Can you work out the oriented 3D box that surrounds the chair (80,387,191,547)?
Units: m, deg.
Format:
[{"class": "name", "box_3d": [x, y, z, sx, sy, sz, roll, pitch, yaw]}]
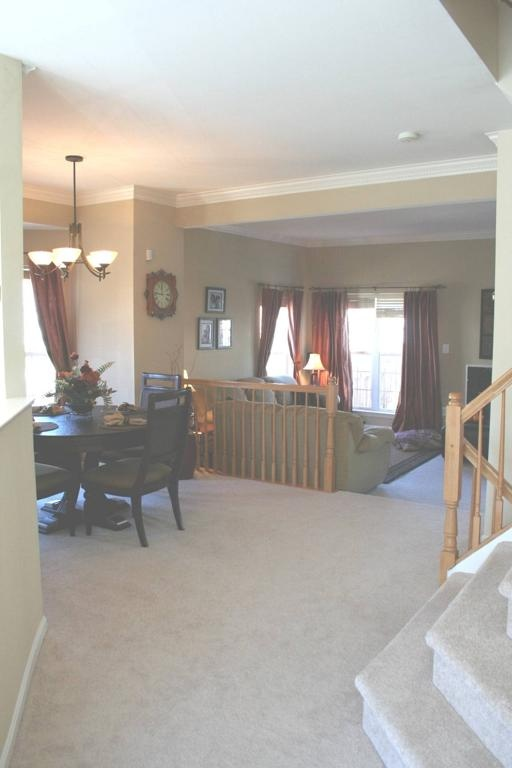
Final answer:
[{"class": "chair", "box_3d": [-0.749, 0.514, 3.612, 0.564, 0.959, 0.533, 2, 3, 25]}]

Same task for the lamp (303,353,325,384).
[{"class": "lamp", "box_3d": [0.957, -0.246, 8.869, 0.404, 0.736, 0.420, 0, 0, -1]}]

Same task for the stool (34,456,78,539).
[{"class": "stool", "box_3d": [-1.271, 0.757, 3.506, 0.240, 0.489, 0.613, -1, 3, -21]}]

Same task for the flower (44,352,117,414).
[{"class": "flower", "box_3d": [-1.268, 0.044, 4.152, 0.464, 0.504, 0.496, 4, 4, 35]}]

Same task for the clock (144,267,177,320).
[{"class": "clock", "box_3d": [-0.961, -0.907, 5.585, 0.033, 0.547, 0.492, 5, 8, 34]}]

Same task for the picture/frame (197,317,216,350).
[{"class": "picture/frame", "box_3d": [-0.628, -0.639, 6.845, 0.036, 0.426, 0.342, 1, 6, 25]}]

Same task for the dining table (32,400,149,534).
[{"class": "dining table", "box_3d": [-1.172, 0.638, 3.780, 0.733, 0.640, 0.803, 18, -11, -16]}]

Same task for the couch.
[{"class": "couch", "box_3d": [0.272, 0.471, 5.387, 1.940, 1.052, 1.263, 2, 4, 30]}]

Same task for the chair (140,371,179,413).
[{"class": "chair", "box_3d": [-0.828, 0.034, 4.927, 0.315, 0.563, 0.371, 1, 3, 5]}]

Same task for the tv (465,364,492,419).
[{"class": "tv", "box_3d": [3.095, 0.000, 7.642, 0.287, 0.523, 0.486, 1, 3, 18]}]

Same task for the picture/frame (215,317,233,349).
[{"class": "picture/frame", "box_3d": [-0.431, -0.672, 7.169, 0.025, 0.406, 0.362, 0, 5, 21]}]
